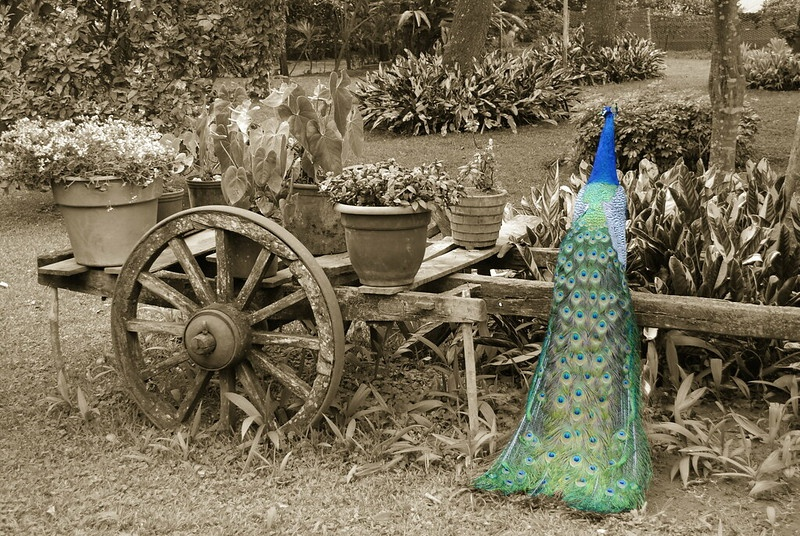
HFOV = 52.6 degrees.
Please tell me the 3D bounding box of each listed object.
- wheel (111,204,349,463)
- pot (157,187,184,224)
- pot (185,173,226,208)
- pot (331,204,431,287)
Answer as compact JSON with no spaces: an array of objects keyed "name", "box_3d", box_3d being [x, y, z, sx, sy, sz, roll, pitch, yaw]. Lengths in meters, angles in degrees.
[{"name":"wheel","box_3d":[-1.241,0.472,5.906,1.543,1.711,0.515,5,5,13]},{"name":"pot","box_3d":[-1.871,-0.513,6.631,0.254,0.213,0.241,-1,0,0]},{"name":"pot","box_3d":[-1.557,-0.623,6.530,0.279,0.232,0.268,-1,7,0]},{"name":"pot","box_3d":[-0.096,-0.214,5.832,0.729,0.615,0.766,0,14,0]}]
